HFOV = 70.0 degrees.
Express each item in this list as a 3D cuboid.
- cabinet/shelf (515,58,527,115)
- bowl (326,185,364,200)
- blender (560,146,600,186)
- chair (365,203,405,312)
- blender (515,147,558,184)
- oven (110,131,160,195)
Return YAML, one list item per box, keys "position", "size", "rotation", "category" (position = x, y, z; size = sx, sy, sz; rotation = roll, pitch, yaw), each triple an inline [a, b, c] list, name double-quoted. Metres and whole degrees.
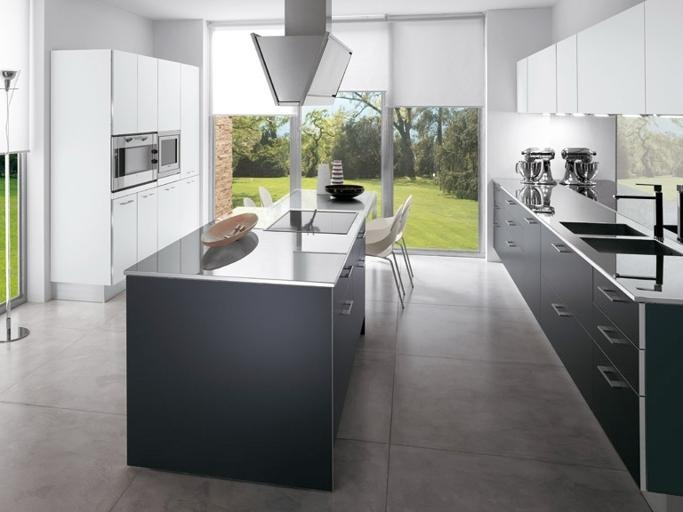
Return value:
- position: [2.253, -2.137, 6.078]
  size: [0.181, 0.513, 0.562]
  rotation: [5, 5, 20]
  category: "cabinet/shelf"
- position: [0.013, -0.611, 4.730]
  size: [0.331, 0.100, 0.400]
  rotation: [6, 17, 18]
  category: "bowl"
- position: [2.604, -0.993, 5.326]
  size: [0.213, 0.402, 0.355]
  rotation: [-17, 18, -39]
  category: "blender"
- position: [0.488, -0.120, 5.403]
  size: [0.437, 0.959, 1.304]
  rotation: [1, 15, 4]
  category: "chair"
- position: [2.164, -1.000, 5.348]
  size: [0.377, 0.399, 0.236]
  rotation: [8, 18, 37]
  category: "blender"
- position: [-2.333, -1.056, 5.217]
  size: [0.452, 0.526, 0.744]
  rotation: [13, 20, 12]
  category: "oven"
